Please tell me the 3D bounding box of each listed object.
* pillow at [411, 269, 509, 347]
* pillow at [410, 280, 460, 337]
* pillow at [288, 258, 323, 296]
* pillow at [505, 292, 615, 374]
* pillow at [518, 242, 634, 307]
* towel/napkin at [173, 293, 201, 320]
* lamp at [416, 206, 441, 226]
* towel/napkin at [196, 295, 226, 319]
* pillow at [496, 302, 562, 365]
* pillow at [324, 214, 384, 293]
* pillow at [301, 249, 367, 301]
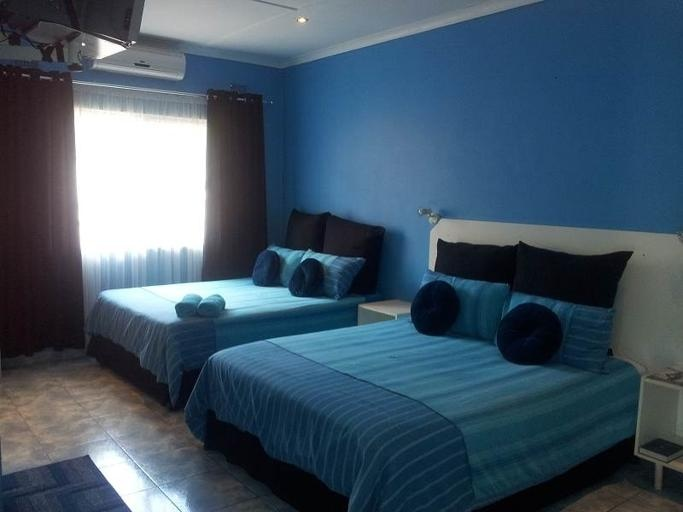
[{"bbox_3d":[0.944,0.370,3.534,0.544,0.415,0.152,9,-7,43],"label":"pillow"},{"bbox_3d":[0.688,0.395,3.667,0.380,0.376,0.125,7,-12,-33],"label":"pillow"},{"bbox_3d":[-0.342,0.213,4.680,0.319,0.330,0.109,-15,-23,35],"label":"pillow"},{"bbox_3d":[1.472,0.547,3.368,0.257,0.473,0.696,11,-9,-25],"label":"pillow"},{"bbox_3d":[1.584,0.141,3.298,0.382,0.264,0.137,11,-26,44],"label":"pillow"},{"bbox_3d":[-1.215,0.353,3.926,0.144,0.100,0.285,0,6,-8],"label":"towel/napkin"},{"bbox_3d":[0.773,-0.358,4.416,0.073,0.134,0.182,-20,57,-44],"label":"lamp"},{"bbox_3d":[-1.056,0.408,3.962,0.125,0.096,0.253,-1,7,2],"label":"towel/napkin"},{"bbox_3d":[1.183,0.525,3.214,0.400,0.404,0.130,13,8,-13],"label":"pillow"},{"bbox_3d":[0.081,-0.097,5.022,0.624,0.546,0.239,19,12,22],"label":"pillow"},{"bbox_3d":[-0.004,0.118,4.943,0.692,0.203,0.677,1,18,-34],"label":"pillow"}]
